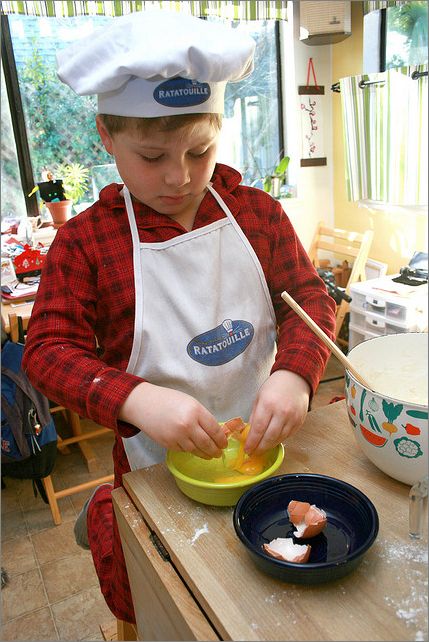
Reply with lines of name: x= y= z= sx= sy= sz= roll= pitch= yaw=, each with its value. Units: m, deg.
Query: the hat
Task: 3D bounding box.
hat: x=-0.118 y=-0.383 z=0.776 sx=0.396 sy=0.166 sz=0.274 roll=-11 pitch=24 yaw=-30

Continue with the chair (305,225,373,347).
chair: x=0.867 y=-0.283 z=3.254 sx=0.502 sy=0.763 sz=0.445 roll=-26 pitch=36 yaw=-29

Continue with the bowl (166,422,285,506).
bowl: x=0.016 y=0.209 z=0.647 sx=0.140 sy=0.093 sz=0.125 roll=-8 pitch=22 yaw=-25

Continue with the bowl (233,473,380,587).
bowl: x=0.095 y=0.218 z=0.468 sx=0.141 sy=0.052 sz=0.159 roll=-5 pitch=9 yaw=17

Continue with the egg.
egg: x=0.039 y=0.199 z=0.675 sx=0.069 sy=0.077 sz=0.065 roll=-7 pitch=22 yaw=-23

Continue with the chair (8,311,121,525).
chair: x=-0.669 y=0.393 z=2.126 sx=0.500 sy=0.862 sz=0.554 roll=-8 pitch=21 yaw=-24
